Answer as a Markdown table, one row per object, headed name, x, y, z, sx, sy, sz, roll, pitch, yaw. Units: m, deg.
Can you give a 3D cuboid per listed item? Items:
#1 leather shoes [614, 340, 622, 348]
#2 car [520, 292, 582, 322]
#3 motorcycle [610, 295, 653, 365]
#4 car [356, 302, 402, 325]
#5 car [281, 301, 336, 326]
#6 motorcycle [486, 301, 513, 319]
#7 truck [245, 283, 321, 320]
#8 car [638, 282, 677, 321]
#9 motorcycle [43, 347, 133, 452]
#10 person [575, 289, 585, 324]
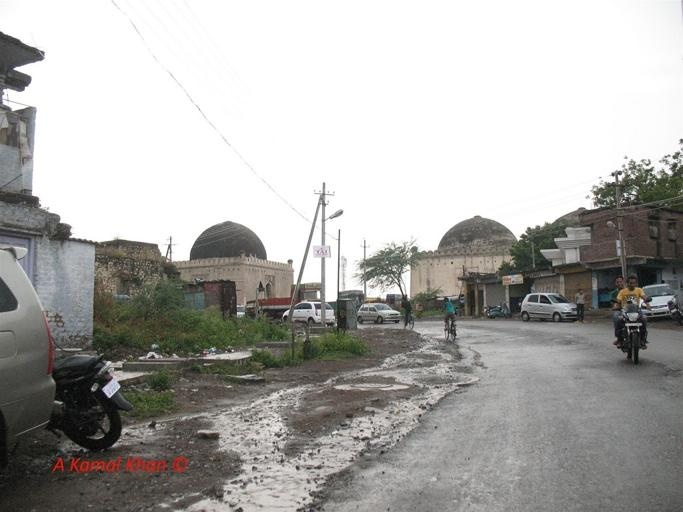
| name | x | y | z | sx | sy | sz | roll | pitch | yaw |
| --- | --- | --- | --- | --- | --- | --- | --- | --- | --- |
| leather shoes | 6.011 | 1.922 | 13.490 | 0.139 | 0.204 | 0.102 | -5 | -48 | 35 |
| car | 10.999 | 2.709 | 32.851 | 1.353 | 1.137 | 2.438 | 2 | -8 | -33 |
| motorcycle | 6.056 | 1.530 | 12.947 | 0.587 | 1.370 | 1.304 | -3 | -5 | 26 |
| car | 2.522 | 3.778 | 40.167 | 1.401 | 1.127 | 2.258 | 5 | -11 | -44 |
| car | -1.621 | 3.335 | 35.821 | 2.440 | 1.254 | 1.490 | 5 | 0 | 37 |
| motorcycle | 11.464 | 3.875 | 44.314 | 1.777 | 1.103 | 1.120 | 6 | -10 | -36 |
| truck | -4.625 | 3.702 | 48.883 | 4.808 | 3.112 | 2.629 | -1 | 2 | 8 |
| car | 12.165 | 1.808 | 23.735 | 1.239 | 1.293 | 2.629 | -4 | -11 | 20 |
| motorcycle | -3.283 | 1.764 | 7.635 | 1.370 | 0.944 | 0.698 | -1 | -2 | 23 |
| person | 11.732 | 2.451 | 30.378 | 0.324 | 1.549 | 1.189 | -2 | -4 | 17 |
